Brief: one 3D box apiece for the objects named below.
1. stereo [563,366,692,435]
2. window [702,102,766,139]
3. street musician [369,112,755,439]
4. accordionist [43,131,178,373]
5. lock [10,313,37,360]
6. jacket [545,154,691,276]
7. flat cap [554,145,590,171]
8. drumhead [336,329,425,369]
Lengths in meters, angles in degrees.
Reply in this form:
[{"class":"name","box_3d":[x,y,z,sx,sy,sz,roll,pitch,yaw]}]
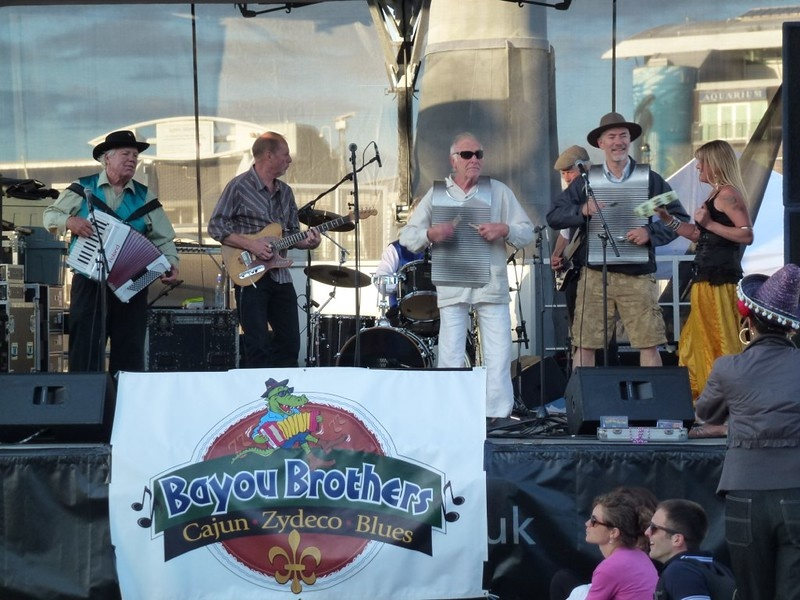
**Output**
[{"class":"stereo","box_3d":[2.073,0.910,17.235,1.123,0.520,0.299,-2,1,5]},{"class":"window","box_3d":[3.917,-2.110,22.454,0.900,0.528,0.095,2,5,42]},{"class":"street musician","box_3d":[1.835,-0.408,19.346,2.786,3.170,2.737,2,11,6]},{"class":"accordionist","box_3d":[-2.727,-0.135,18.220,1.284,2.980,0.986,-2,7,-23]},{"class":"lock","box_3d":[-4.256,0.416,21.643,0.114,0.420,0.432,3,0,15]},{"class":"jacket","box_3d":[2.019,-0.743,18.169,1.155,1.206,0.807,3,9,-2]},{"class":"flat cap","box_3d":[1.816,-1.472,19.832,0.250,0.185,0.353,-6,-4,41]},{"class":"drumhead","box_3d":[-0.117,0.530,19.837,0.783,0.426,0.720,3,8,-15]}]
